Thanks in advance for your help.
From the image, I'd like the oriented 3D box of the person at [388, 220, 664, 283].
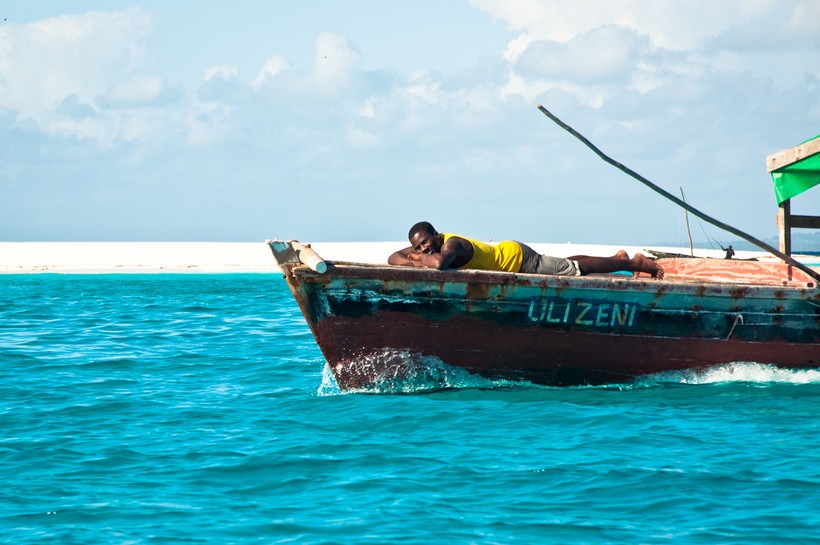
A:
[{"bbox_3d":[1.564,-0.193,13.940,2.341,0.323,1.223,5,-6,-11],"label":"person"}]
